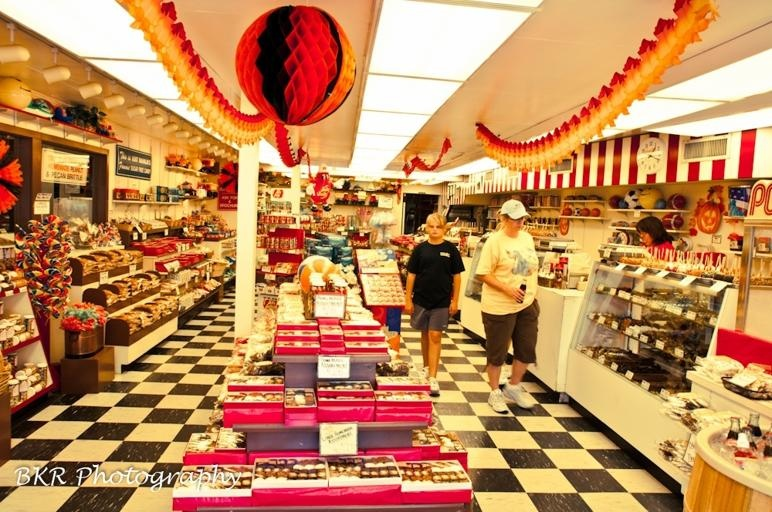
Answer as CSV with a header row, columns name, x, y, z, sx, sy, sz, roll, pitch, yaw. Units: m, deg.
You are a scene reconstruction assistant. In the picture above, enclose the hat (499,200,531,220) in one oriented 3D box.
name,x,y,z,sx,sy,sz,roll,pitch,yaw
hat,1.361,-0.488,5.231,0.210,0.144,0.281,0,3,-18
